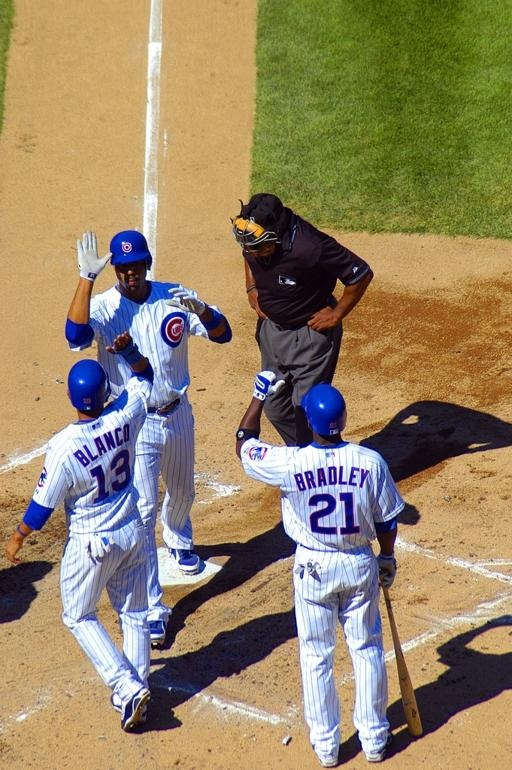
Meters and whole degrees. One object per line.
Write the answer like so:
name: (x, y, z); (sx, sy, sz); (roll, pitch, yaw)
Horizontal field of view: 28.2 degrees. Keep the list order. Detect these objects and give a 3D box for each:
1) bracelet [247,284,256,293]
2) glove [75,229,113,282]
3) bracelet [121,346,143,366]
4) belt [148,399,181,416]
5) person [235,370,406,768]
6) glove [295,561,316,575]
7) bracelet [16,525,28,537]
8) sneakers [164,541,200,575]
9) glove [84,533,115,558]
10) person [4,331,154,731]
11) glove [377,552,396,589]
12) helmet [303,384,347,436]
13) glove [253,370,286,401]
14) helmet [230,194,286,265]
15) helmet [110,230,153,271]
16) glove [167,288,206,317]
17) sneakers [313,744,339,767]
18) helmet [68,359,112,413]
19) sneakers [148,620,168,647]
bracelet: (-0.030, -0.742, 7.829); (0.061, 0.016, 0.062); (-16, 7, 18)
glove: (-1.063, -0.829, 6.739); (0.197, 0.333, 0.473); (-3, 20, -11)
bracelet: (-0.747, -0.185, 6.220); (0.099, 0.110, 0.117); (-18, 45, 14)
belt: (-0.603, 0.160, 6.785); (0.147, 0.043, 0.139); (-19, 5, -30)
person: (0.409, 1.026, 5.737); (0.760, 2.065, 1.048); (-7, 22, -19)
glove: (0.271, 0.988, 5.534); (0.067, 0.041, 0.090); (6, -7, -11)
bracelet: (-1.299, 0.809, 5.692); (0.043, 0.054, 0.057); (-15, -24, 13)
sneakers: (-0.531, 1.266, 7.657); (0.145, 0.115, 0.275); (-13, 39, -26)
glove: (-0.866, 0.888, 5.688); (0.150, 0.132, 0.053); (6, -7, -26)
person: (-0.858, 0.915, 5.884); (0.761, 2.085, 0.771); (7, 22, 17)
glove: (0.735, 1.063, 5.903); (0.147, 0.182, 0.069); (11, -12, -41)
helmet: (0.375, 0.130, 5.557); (0.208, 0.253, 0.297); (-3, 20, -11)
glove: (0.070, 0.030, 6.080); (0.189, 0.219, 0.148); (10, 20, 24)
helmet: (0.050, -1.105, 7.203); (0.330, 0.435, 0.393); (8, 21, 18)
helmet: (-0.806, -0.865, 6.588); (0.254, 0.246, 0.279); (-2, 20, -8)
glove: (-0.460, -0.551, 6.758); (0.233, 0.084, 0.131); (18, 29, -54)
sneakers: (0.405, 2.066, 5.655); (0.083, 0.076, 0.178); (1, 36, -7)
helmet: (-0.947, -0.010, 5.729); (0.199, 0.285, 0.163); (1, -22, -5)
sneakers: (-0.639, 1.625, 6.757); (0.090, 0.102, 0.236); (3, 17, -1)
